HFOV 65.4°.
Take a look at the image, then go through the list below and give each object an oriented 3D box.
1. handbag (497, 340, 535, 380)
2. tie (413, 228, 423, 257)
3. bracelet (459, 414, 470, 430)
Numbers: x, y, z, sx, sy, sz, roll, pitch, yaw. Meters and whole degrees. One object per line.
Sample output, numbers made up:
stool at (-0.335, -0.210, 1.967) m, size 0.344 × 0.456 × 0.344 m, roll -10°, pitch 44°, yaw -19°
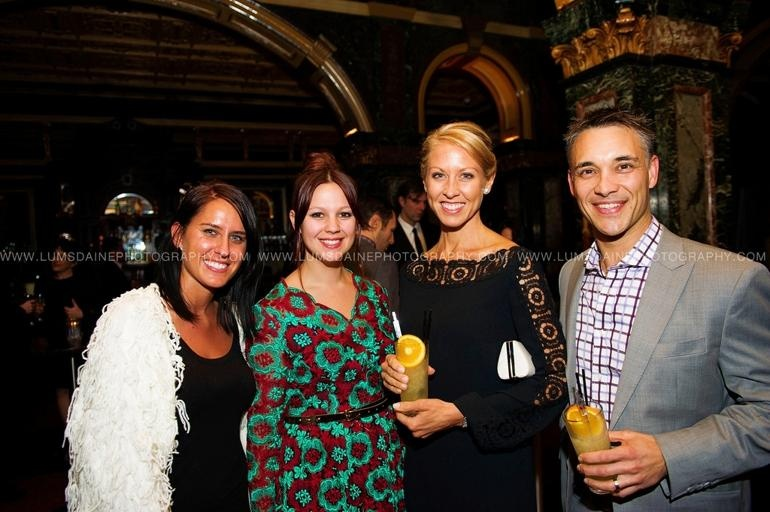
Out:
handbag at (0.789, 0.623, 3.553) m, size 0.230 × 0.226 × 0.112 m, roll -4°, pitch -5°, yaw 8°
tie at (0.387, -0.173, 6.966) m, size 0.088 × 0.364 × 0.101 m, roll -6°, pitch -23°, yaw -9°
bracelet at (0.475, 0.996, 3.575) m, size 0.038 × 0.078 × 0.058 m, roll -3°, pitch -4°, yaw -17°
